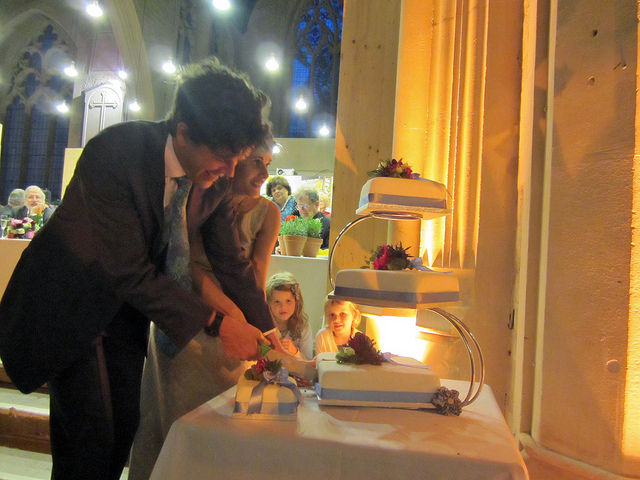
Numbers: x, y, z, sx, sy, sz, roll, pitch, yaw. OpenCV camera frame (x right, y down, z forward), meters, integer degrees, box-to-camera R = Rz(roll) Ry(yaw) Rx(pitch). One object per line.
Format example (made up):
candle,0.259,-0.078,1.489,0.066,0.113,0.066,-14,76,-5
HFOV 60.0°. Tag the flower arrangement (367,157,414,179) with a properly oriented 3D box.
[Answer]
flower arrangement,0.345,-0.333,2.610,0.237,0.114,0.192,3,2,-18

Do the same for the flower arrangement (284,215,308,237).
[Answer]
flower arrangement,-0.187,-0.099,4.319,0.146,0.109,0.147,2,0,-4

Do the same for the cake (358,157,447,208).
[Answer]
cake,0.380,-0.234,2.571,0.262,0.178,0.276,2,0,-2

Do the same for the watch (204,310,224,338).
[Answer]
watch,-0.393,0.325,2.074,0.063,0.090,0.099,-18,-35,-15

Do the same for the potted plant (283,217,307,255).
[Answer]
potted plant,-0.208,-0.019,4.316,0.185,0.348,0.228,-3,0,-15

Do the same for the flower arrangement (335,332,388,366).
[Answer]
flower arrangement,0.164,0.423,2.148,0.202,0.111,0.100,3,2,-4

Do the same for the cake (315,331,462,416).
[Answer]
cake,0.243,0.534,2.130,0.376,0.199,0.331,5,-11,0

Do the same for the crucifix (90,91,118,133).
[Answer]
crucifix,-3.873,-2.311,9.908,0.569,0.687,0.150,4,3,28

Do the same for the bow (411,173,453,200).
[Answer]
bow,0.514,-0.255,2.671,0.137,0.051,0.117,3,-2,25

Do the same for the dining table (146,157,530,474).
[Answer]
dining table,0.116,0.215,2.482,1.229,1.196,1.450,4,2,4

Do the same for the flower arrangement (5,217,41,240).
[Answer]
flower arrangement,-2.498,-0.095,4.668,0.244,0.171,0.448,3,2,-29

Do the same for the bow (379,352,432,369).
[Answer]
bow,0.332,0.474,2.162,0.181,0.029,0.132,5,2,28
